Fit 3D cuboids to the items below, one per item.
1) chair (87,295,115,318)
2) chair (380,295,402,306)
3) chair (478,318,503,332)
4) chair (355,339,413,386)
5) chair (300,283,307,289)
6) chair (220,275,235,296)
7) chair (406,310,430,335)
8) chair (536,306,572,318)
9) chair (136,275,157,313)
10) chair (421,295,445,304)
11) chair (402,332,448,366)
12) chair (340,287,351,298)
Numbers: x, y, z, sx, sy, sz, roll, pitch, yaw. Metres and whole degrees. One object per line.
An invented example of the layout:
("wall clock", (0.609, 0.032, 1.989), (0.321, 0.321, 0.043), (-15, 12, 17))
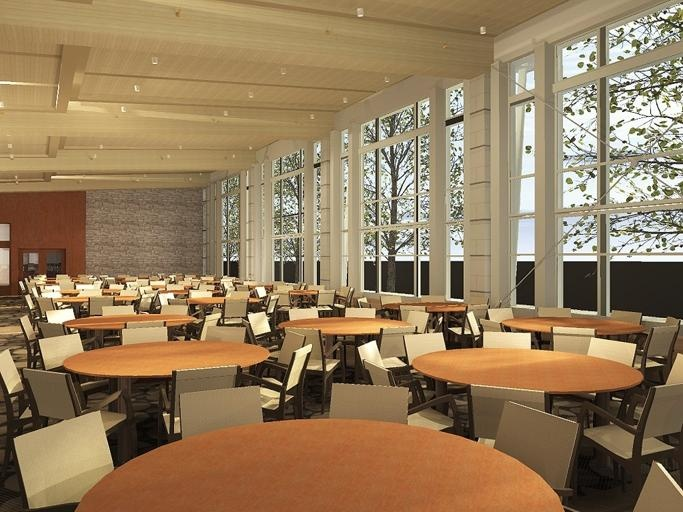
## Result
("chair", (-3.900, 0.817, 7.956), (0.264, 0.281, 0.467), (-2, -3, 31))
("chair", (0.992, 0.860, 9.608), (0.268, 0.264, 0.259), (2, -5, -8))
("chair", (1.582, 0.741, 5.224), (0.177, 0.193, 0.146), (-2, 5, -27))
("chair", (0.371, 0.922, 4.241), (0.484, 0.565, 0.407), (-2, 4, -4))
("chair", (-1.056, 0.826, 13.453), (0.161, 0.176, 0.150), (4, 17, 4))
("chair", (-3.234, 0.823, 13.862), (0.296, 0.350, 0.257), (1, -1, -35))
("chair", (0.913, 0.803, 5.950), (0.200, 0.322, 0.366), (3, 0, -41))
("chair", (3.249, 0.856, 7.472), (0.413, 0.229, 0.205), (0, -7, -2))
("chair", (-4.403, 0.848, 11.071), (0.540, 0.814, 0.635), (2, -3, -24))
("chair", (1.781, 0.848, 9.504), (0.313, 0.254, 0.215), (2, -4, -14))
("chair", (0.763, 0.870, 4.630), (0.309, 0.453, 0.345), (1, -5, -12))
("chair", (0.082, 0.874, 11.644), (0.119, 0.204, 0.215), (26, -19, -25))
